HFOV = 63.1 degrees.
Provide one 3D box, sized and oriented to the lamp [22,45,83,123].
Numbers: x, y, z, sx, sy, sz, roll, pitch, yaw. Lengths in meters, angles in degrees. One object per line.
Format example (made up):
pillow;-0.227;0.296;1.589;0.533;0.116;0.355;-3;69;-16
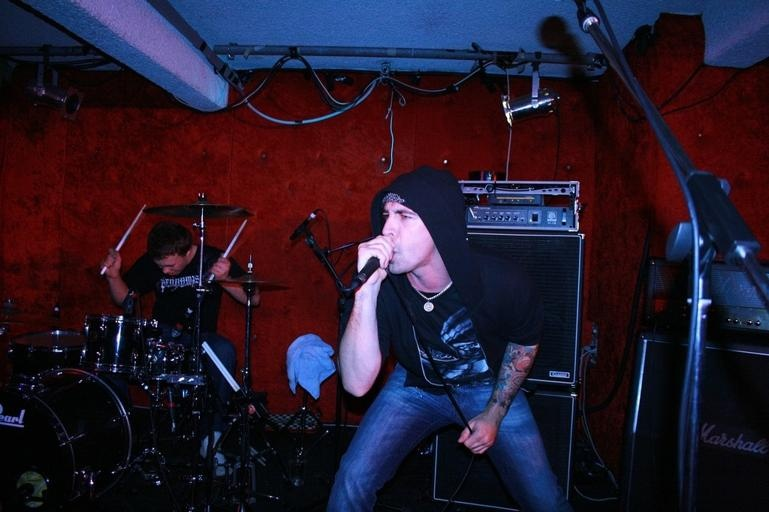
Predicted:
lamp;-2.915;-1.493;5.525;0.531;0.697;0.345;21;21;9

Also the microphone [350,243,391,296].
microphone;-0.023;0.056;3.623;0.115;0.121;0.454;26;34;19

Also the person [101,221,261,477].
person;-1.685;0.630;5.153;1.163;1.853;1.060;1;16;-6

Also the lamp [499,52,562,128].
lamp;1.229;-1.335;5.251;0.481;0.597;0.291;-6;-5;11

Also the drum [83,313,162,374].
drum;-1.984;0.667;4.702;0.564;0.412;0.556;4;-11;1

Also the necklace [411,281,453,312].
necklace;0.290;0.263;3.860;0.199;0.180;0.081;-3;-47;27
